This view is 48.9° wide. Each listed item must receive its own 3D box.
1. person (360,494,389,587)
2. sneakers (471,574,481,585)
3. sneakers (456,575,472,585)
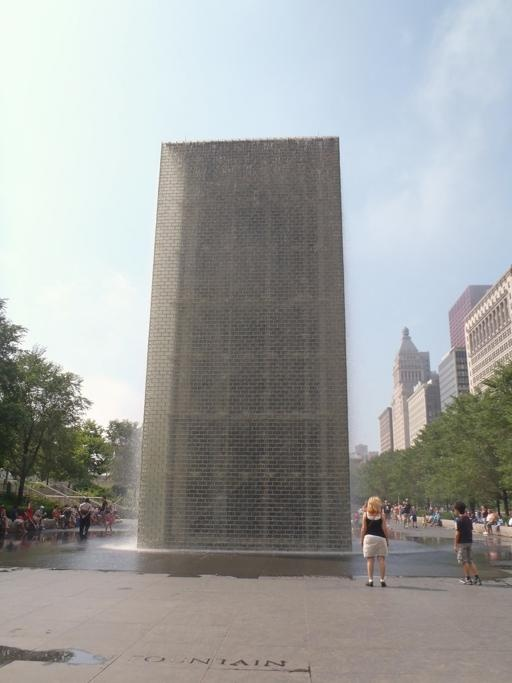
[{"bbox_3d":[1.891,3.136,8.835,0.356,1.398,0.342,-1,-37,11],"label":"person"},{"bbox_3d":[3.585,3.877,9.183,0.143,0.137,0.479,-7,-20,19],"label":"sneakers"},{"bbox_3d":[3.441,3.939,9.314,0.100,0.167,0.296,12,-21,-16],"label":"sneakers"}]
